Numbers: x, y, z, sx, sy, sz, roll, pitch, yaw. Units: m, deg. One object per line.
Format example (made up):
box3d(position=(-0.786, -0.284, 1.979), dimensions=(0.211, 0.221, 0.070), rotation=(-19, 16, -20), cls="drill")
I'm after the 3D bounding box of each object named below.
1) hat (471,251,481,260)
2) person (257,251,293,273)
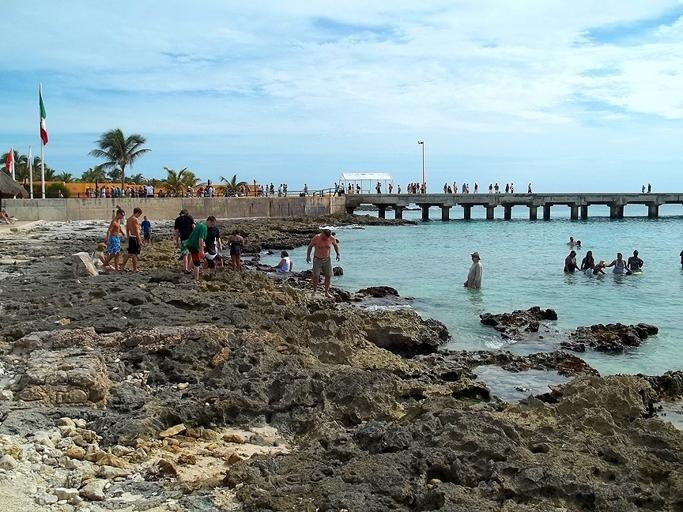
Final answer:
box3d(position=(4.816, -0.041, 24.768), dimensions=(0.411, 0.259, 0.559), rotation=(1, 6, 8), cls="hat")
box3d(position=(-2.272, 0.144, 23.603), dimensions=(1.279, 0.913, 0.609), rotation=(3, 10, 17), cls="person")
